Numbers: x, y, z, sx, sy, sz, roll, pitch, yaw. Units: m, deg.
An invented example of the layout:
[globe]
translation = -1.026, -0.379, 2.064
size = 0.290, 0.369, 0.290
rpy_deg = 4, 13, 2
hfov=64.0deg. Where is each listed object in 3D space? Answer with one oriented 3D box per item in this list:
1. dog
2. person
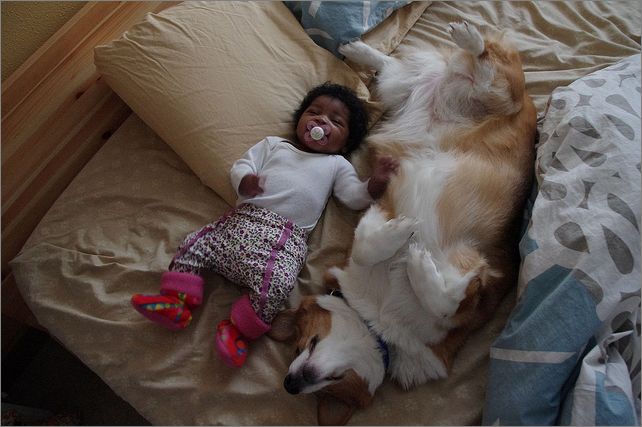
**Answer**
[dog]
translation = 0.585, 0.149, 2.907
size = 1.135, 0.656, 2.104
rpy_deg = 23, 85, 10
[person]
translation = -0.235, 0.054, 2.763
size = 0.849, 0.433, 1.686
rpy_deg = 22, 78, 17
